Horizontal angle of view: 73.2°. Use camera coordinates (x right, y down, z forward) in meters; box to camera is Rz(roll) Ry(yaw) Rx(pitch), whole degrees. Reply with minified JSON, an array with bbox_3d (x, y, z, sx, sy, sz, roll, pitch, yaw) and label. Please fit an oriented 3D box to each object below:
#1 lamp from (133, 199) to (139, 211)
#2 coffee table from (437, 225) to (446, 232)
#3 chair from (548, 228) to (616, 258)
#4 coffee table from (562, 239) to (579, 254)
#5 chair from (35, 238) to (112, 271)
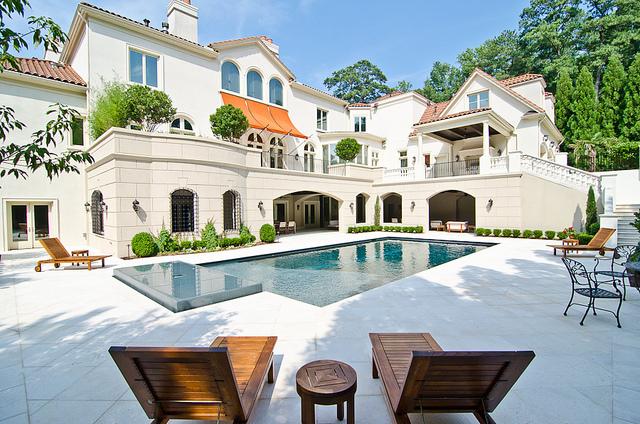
[{"bbox_3d":[-10.398,-0.418,24.265,0.262,0.678,0.371,-2,0,26],"label":"lamp"},{"bbox_3d":[9.959,1.244,35.532,0.796,0.421,0.415,-3,-1,41],"label":"coffee table"},{"bbox_3d":[13.558,1.573,22.641,3.337,1.548,1.579,-1,-1,16],"label":"chair"},{"bbox_3d":[13.556,1.851,23.342,0.688,0.728,0.680,-1,-3,7],"label":"coffee table"},{"bbox_3d":[-12.753,2.294,21.947,3.339,1.752,1.867,0,2,-4],"label":"chair"}]
